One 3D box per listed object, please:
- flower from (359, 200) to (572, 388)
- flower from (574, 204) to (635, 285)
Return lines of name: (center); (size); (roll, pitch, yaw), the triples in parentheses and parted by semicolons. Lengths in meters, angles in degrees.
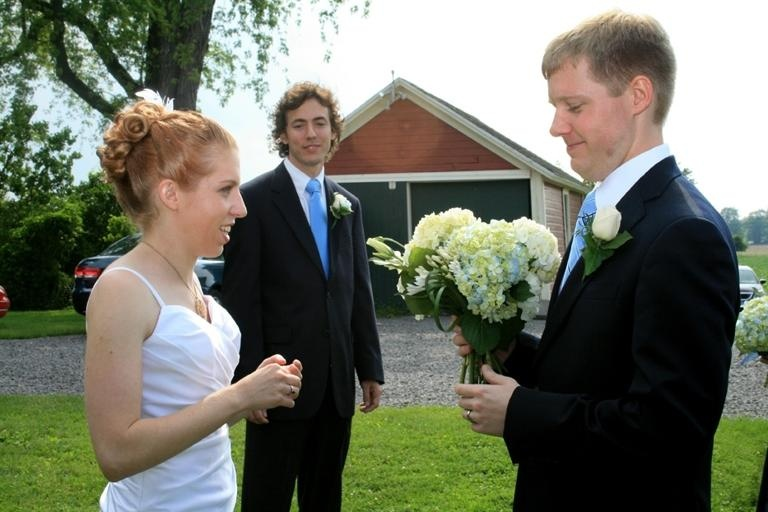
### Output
flower: (0.537, 0.244, 3.887); (0.958, 1.057, 1.109); (-3, 5, -11)
flower: (1.058, -0.130, 3.179); (0.317, 0.336, 0.151); (22, -30, 18)
